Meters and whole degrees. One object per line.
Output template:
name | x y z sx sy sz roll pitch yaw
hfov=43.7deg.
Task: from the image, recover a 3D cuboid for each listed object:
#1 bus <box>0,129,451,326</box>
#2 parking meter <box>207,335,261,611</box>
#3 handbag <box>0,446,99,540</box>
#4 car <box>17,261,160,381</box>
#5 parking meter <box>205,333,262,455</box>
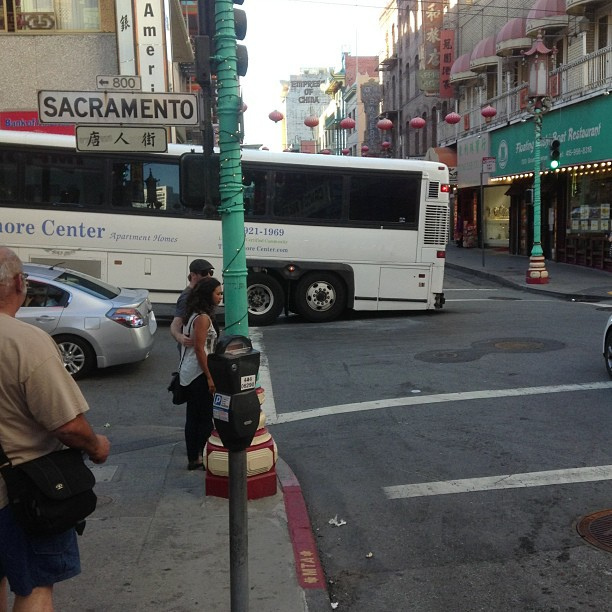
bus | 0.350 -1.884 17.357 13.169 4.074 3.521 -1 6 -8
parking meter | -0.315 0.824 3.685 0.274 1.380 0.281 -5 8 -30
handbag | -1.107 0.777 3.204 0.220 0.418 0.326 -21 5 22
car | -3.652 0.162 10.450 3.180 1.085 1.415 5 5 -6
parking meter | -0.345 0.425 3.645 0.287 0.544 0.270 -3 3 -1
